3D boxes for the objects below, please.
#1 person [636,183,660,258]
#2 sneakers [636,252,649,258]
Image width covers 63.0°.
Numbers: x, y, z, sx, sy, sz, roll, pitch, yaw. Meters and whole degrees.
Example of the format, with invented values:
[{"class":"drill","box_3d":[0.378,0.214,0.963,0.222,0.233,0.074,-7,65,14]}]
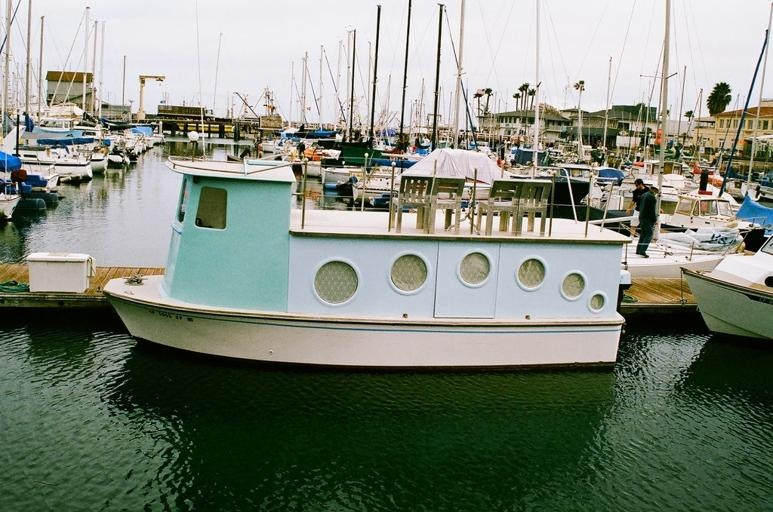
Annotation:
[{"class":"person","box_3d":[7.851,-1.012,18.944,0.526,2.008,1.512,5,13,23]},{"class":"sneakers","box_3d":[7.686,-0.025,18.929,0.336,0.148,0.125,0,6,-3]}]
